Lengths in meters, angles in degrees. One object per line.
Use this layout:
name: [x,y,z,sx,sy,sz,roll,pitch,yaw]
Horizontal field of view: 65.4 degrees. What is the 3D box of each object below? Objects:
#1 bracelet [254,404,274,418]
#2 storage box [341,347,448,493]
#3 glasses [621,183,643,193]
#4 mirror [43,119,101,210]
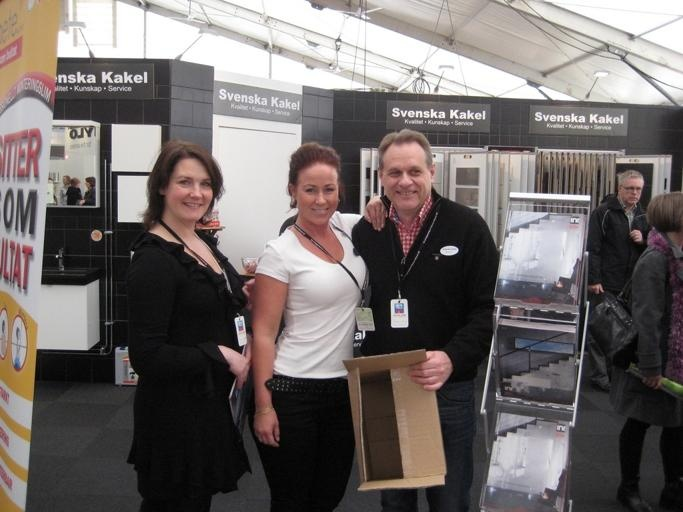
bracelet: [-0.334,0.680,2.325,0.081,0.045,0.035,0,8,-8]
storage box: [0.234,0.704,2.217,0.446,0.603,0.195,-7,-2,9]
glasses: [2.845,-0.645,5.214,0.102,0.089,0.135,5,-5,13]
mirror: [-2.772,-0.936,5.506,0.501,0.863,0.106,0,7,-3]
